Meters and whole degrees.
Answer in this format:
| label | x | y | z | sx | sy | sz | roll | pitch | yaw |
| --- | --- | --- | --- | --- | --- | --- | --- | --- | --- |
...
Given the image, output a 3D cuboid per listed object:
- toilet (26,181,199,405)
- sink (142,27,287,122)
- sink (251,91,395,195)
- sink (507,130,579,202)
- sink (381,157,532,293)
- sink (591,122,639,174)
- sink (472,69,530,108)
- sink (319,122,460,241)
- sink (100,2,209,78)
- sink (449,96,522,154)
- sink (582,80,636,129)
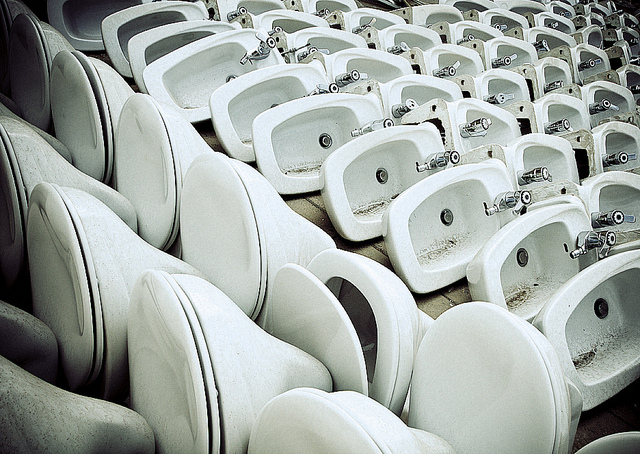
| label | x | y | z | sx | sy | sz | roll | pitch | yaw |
| --- | --- | --- | --- | --- | --- | --- | --- | --- | --- |
| toilet | -0.554 | 0.143 | 1.468 | 0.391 | 0.585 | 0.442 | -8 | 27 | -28 |
| sink | -0.385 | -0.490 | 2.160 | 0.524 | 0.414 | 0.143 | -29 | 9 | -24 |
| sink | -0.034 | -0.335 | 1.945 | 0.467 | 0.405 | 0.206 | -15 | 10 | -28 |
| sink | 0.866 | -0.249 | 2.125 | 0.246 | 0.395 | 0.120 | -8 | 1 | -33 |
| sink | 0.416 | -0.028 | 1.859 | 0.474 | 0.400 | 0.192 | -32 | 4 | -7 |
| sink | 1.304 | -0.350 | 2.461 | 0.230 | 0.225 | 0.253 | -1 | 3 | -3 |
| sink | 0.853 | -0.652 | 2.652 | 0.132 | 0.256 | 0.288 | 1 | 0 | 40 |
| sink | 0.193 | -0.190 | 1.864 | 0.443 | 0.388 | 0.174 | -26 | 11 | -26 |
| sink | -0.688 | -0.806 | 2.278 | 0.367 | 0.345 | 0.100 | -18 | 16 | -28 |
| sink | 0.658 | -0.404 | 2.238 | 0.203 | 0.199 | 0.226 | -17 | 13 | -26 |
| sink | 1.507 | -0.593 | 2.948 | 0.225 | 0.356 | 0.131 | -14 | 6 | -20 |
